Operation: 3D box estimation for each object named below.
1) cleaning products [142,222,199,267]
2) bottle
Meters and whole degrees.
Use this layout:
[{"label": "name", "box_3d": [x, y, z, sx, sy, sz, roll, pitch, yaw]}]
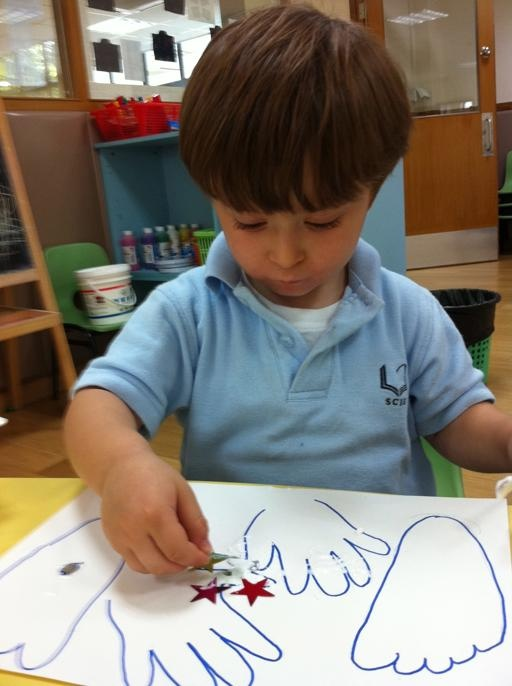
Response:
[{"label": "cleaning products", "box_3d": [-0.349, -0.388, 2.183, 0.259, 0.228, 0.135, 1, 4, 4]}, {"label": "bottle", "box_3d": [-0.379, -0.381, 2.141, 0.222, 0.097, 0.282, -4, 8, -4]}]
